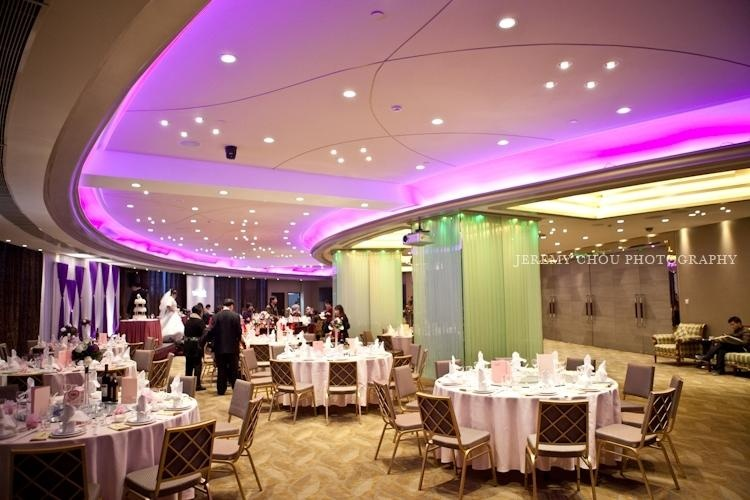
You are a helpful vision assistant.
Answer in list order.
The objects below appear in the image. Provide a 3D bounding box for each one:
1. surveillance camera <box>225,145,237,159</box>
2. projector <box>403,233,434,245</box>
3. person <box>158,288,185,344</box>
[{"bbox_3d":[-2.602,-1.737,8.926,0.186,0.186,0.200,-2,-6,15],"label":"surveillance camera"},{"bbox_3d":[1.017,-0.234,11.497,0.390,0.171,0.388,9,-12,-37],"label":"projector"},{"bbox_3d":[-7.722,2.331,18.784,1.055,1.620,0.768,-6,-1,11],"label":"person"}]
